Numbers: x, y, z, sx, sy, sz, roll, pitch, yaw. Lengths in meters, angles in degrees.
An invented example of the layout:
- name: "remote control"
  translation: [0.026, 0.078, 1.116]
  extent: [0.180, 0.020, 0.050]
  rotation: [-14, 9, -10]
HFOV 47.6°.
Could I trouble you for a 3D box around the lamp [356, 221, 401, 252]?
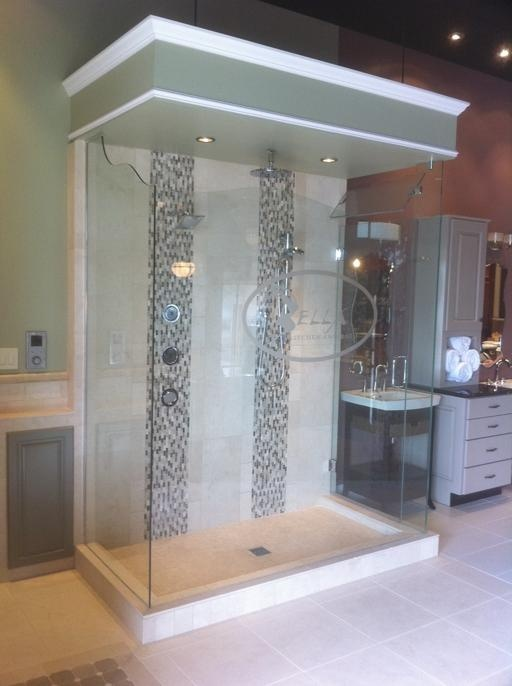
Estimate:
- name: "lamp"
  translation: [0.665, -0.584, 3.161]
  extent: [0.185, 0.080, 0.140]
  rotation: [2, 3, 23]
